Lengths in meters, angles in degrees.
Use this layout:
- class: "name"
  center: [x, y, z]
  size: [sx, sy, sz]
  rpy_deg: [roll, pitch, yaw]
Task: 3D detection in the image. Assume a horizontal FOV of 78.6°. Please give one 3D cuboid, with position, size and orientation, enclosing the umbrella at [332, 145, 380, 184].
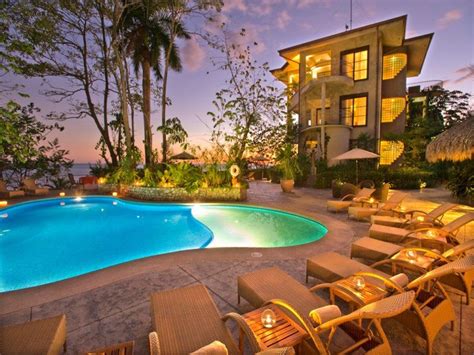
- class: "umbrella"
  center: [7.623, -0.739, 18.487]
  size: [2.381, 2.613, 2.484]
  rpy_deg: [5, 12, 39]

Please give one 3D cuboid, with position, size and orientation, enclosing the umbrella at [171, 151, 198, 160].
- class: "umbrella"
  center: [-3.569, -1.476, 19.623]
  size: [1.574, 0.985, 1.744]
  rpy_deg: [0, 3, -6]
